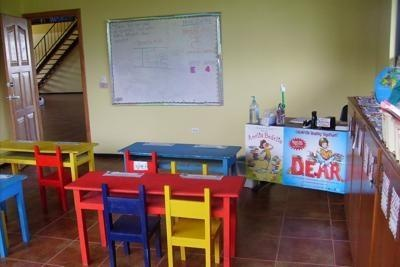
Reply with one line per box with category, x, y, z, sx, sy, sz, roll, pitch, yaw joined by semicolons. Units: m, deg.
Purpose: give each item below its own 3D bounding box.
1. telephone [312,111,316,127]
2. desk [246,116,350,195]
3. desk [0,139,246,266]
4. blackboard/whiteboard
telephone;1.636;-0.197;4.396;0.078;0.224;0.106;2;11;19
desk;1.426;0.294;4.437;1.243;0.568;0.355;4;15;25
desk;-1.046;0.844;3.983;3.254;1.110;1.349;6;12;38
blackboard/whiteboard;-0.615;-1.547;6.108;2.074;1.393;0.043;3;18;15
